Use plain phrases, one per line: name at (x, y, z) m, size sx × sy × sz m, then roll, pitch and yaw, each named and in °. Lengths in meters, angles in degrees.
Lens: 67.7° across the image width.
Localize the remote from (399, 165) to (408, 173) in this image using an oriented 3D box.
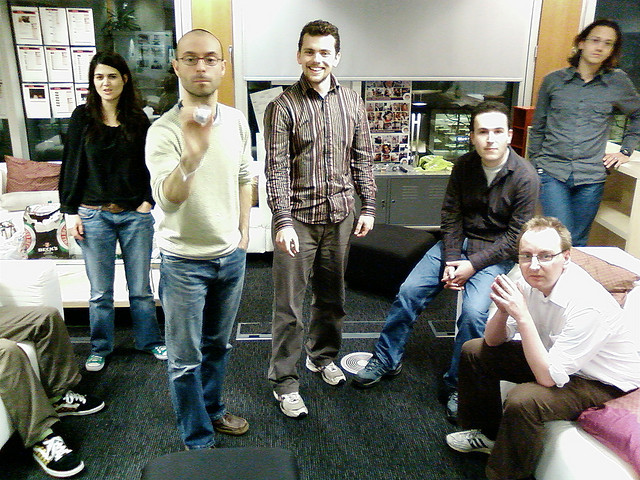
remote at (0.884, -0.753, 5.060) m, size 0.043 × 0.026 × 0.125 m, roll -14°, pitch 29°, yaw -14°

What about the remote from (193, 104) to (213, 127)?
remote at (-0.396, -0.421, 1.615) m, size 0.062 × 0.065 × 0.027 m, roll 19°, pitch -9°, yaw -4°

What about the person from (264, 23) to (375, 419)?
person at (-0.053, -0.090, 2.598) m, size 0.533 × 2.038 × 0.880 m, roll 10°, pitch 25°, yaw 23°
